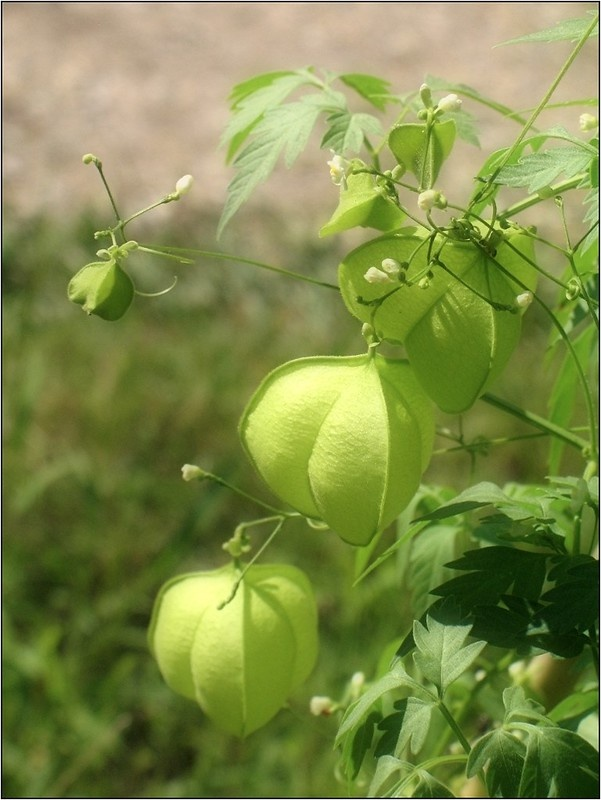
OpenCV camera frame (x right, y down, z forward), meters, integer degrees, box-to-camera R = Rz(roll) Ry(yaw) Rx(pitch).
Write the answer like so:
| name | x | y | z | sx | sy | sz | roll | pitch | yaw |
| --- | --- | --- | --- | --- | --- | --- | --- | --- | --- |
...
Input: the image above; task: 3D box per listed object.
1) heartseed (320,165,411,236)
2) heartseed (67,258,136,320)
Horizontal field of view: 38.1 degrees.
| name | x | y | z | sx | sy | sz | roll | pitch | yaw |
| --- | --- | --- | --- | --- | --- | --- | --- | --- | --- |
| heartseed | 0.050 | -0.165 | 0.748 | 0.070 | 0.032 | 0.086 | -7 | 35 | 8 |
| heartseed | -0.173 | -0.093 | 0.744 | 0.054 | 0.054 | 0.020 | 18 | -11 | -1 |
